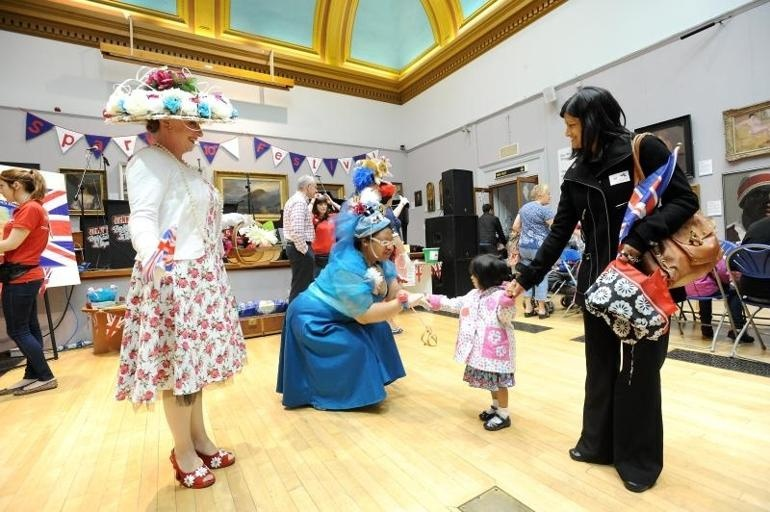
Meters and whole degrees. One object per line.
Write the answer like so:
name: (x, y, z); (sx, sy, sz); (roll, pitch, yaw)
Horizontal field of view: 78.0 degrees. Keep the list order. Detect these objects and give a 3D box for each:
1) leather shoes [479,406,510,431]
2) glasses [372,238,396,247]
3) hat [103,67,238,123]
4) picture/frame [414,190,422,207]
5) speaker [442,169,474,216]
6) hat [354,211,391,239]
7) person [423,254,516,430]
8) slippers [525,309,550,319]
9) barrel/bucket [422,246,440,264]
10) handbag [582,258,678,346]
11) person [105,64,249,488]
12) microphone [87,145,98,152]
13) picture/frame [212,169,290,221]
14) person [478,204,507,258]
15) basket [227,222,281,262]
leather shoes: (0.829, 1.250, 3.635); (0.285, 0.129, 0.102); (1, 5, -1)
glasses: (-0.023, -0.106, 3.757); (0.165, 0.072, 0.064); (-1, 3, -23)
hat: (-1.428, -1.032, 3.140); (0.574, 0.247, 0.562); (-4, 10, -19)
picture/frame: (0.794, -1.396, 11.405); (0.039, 0.404, 0.396); (2, -4, -21)
speaker: (1.196, -1.042, 7.749); (0.519, 0.750, 0.478); (0, 3, 1)
hat: (-0.101, -0.246, 3.748); (0.197, 0.132, 0.234); (-18, -13, -27)
person: (0.693, 0.645, 3.641); (0.576, 1.316, 0.360); (1, 3, 17)
slippers: (2.015, 0.761, 6.290); (0.289, 0.123, 0.107); (-1, 2, -15)
barrel/bucket: (0.712, -0.009, 7.267); (0.226, 0.179, 0.229); (-1, 1, 0)
handbag: (1.509, 0.295, 2.904); (0.521, 0.524, 0.229); (-41, -1, 39)
person: (-1.364, 0.140, 3.135); (0.783, 2.835, 0.590); (-2, 3, -31)
microphone: (-5.109, -1.883, 8.312); (0.030, 0.126, 0.123); (-40, -16, 35)
picture/frame: (-2.421, -1.123, 8.466); (1.581, 1.123, 0.117); (0, -4, -38)
person: (1.867, -0.471, 8.273); (0.468, 0.922, 0.991); (1, 3, 14)
basket: (-1.404, -0.125, 5.071); (0.481, 0.230, 0.460); (-1, 1, 9)
